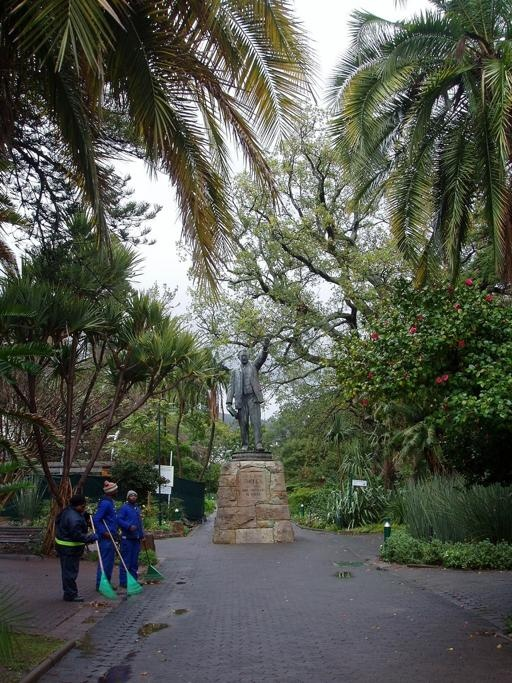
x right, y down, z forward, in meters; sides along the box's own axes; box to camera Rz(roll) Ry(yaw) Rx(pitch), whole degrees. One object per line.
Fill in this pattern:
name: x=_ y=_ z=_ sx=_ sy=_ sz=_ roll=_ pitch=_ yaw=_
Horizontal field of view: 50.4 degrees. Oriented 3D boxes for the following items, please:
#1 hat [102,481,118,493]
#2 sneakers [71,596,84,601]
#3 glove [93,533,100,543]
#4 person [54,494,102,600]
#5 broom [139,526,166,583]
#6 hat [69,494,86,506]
hat: x=-2.211 y=2.215 z=8.268 sx=0.209 sy=0.177 sz=0.165 roll=-2 pitch=-8 yaw=6
sneakers: x=-2.213 y=3.188 z=6.761 sx=0.145 sy=0.070 sz=0.057 roll=-2 pitch=-10 yaw=5
glove: x=-2.064 y=2.565 z=7.077 sx=0.088 sy=0.099 sz=0.093 roll=-10 pitch=-2 yaw=-12
person: x=-2.403 y=2.694 z=7.185 sx=0.482 sy=1.257 sz=0.801 roll=5 pitch=-14 yaw=-21
broom: x=-1.779 y=3.628 z=8.995 sx=0.386 sy=0.737 sz=0.087 roll=6 pitch=-50 yaw=-34
hat: x=-2.396 y=2.116 z=7.325 sx=0.130 sy=0.171 sz=0.166 roll=2 pitch=2 yaw=4
